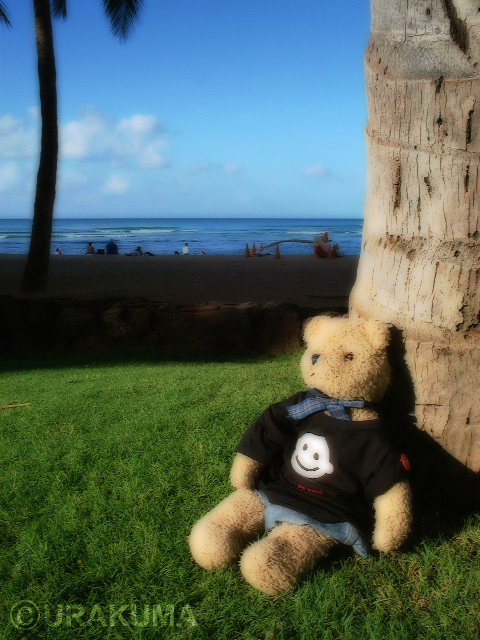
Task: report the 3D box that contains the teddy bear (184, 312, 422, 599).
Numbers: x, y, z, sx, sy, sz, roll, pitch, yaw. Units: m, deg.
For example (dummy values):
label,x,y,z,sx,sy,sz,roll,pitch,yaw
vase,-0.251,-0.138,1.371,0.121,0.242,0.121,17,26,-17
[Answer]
label,x,y,z,sx,sy,sz,roll,pitch,yaw
teddy bear,0.161,0.376,1.923,0.890,0.996,0.830,-9,17,-38

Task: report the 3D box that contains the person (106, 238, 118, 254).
label,x,y,z,sx,sy,sz,roll,pitch,yaw
person,-6.831,-3.842,24.899,0.498,0.677,1.315,-1,9,-20

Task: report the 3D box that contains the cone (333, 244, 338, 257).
label,x,y,z,sx,sy,sz,roll,pitch,yaw
cone,4.505,-3.232,22.498,0.229,0.445,0.698,4,9,10

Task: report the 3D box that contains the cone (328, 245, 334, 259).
label,x,y,z,sx,sy,sz,roll,pitch,yaw
cone,4.151,-3.101,21.687,0.266,0.570,0.950,4,9,11
